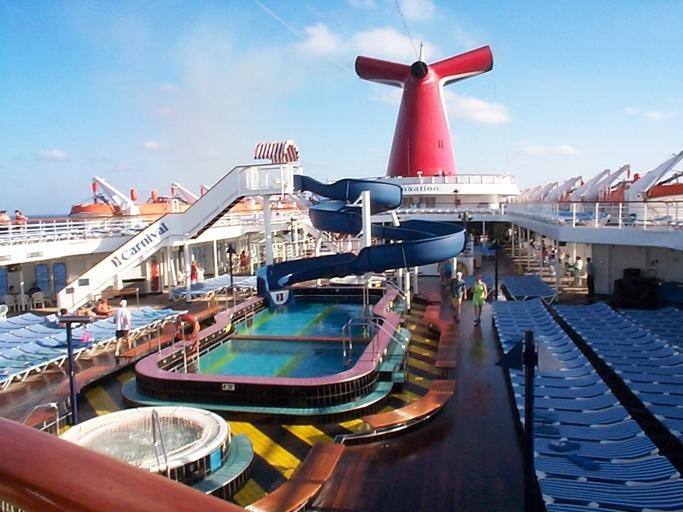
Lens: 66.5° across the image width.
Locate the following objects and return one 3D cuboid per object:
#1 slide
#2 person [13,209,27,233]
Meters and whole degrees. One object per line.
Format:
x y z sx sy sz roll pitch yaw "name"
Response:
0.651 -0.620 14.407 6.292 3.106 3.546 1 11 21 "slide"
-10.062 -1.100 16.384 0.373 0.666 2.192 -5 10 -31 "person"
